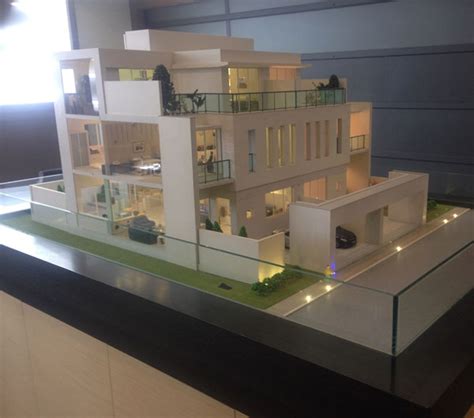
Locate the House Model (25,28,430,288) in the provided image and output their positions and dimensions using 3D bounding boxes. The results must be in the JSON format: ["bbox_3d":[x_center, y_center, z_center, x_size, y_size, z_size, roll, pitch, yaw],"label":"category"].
[{"bbox_3d":[-0.149,-1.770,14.015,9.435,5.350,9.434,8,16,36],"label":"House Model"}]
